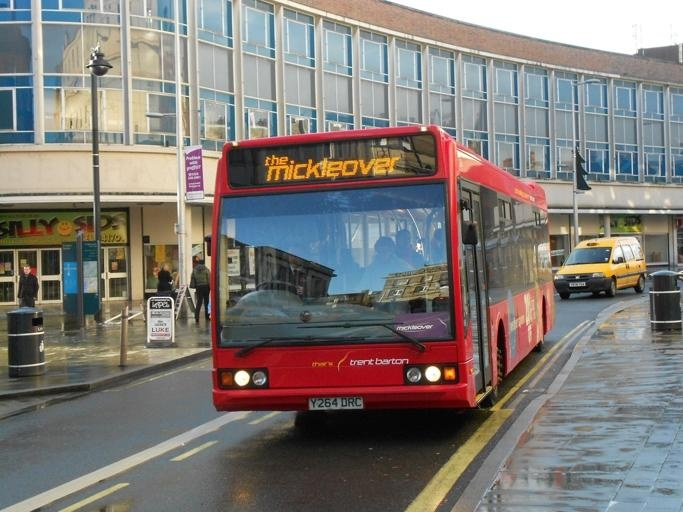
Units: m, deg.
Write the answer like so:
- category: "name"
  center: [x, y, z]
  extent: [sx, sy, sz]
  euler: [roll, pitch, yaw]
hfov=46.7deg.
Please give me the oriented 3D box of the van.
- category: "van"
  center: [9.982, 0.378, 30.490]
  extent: [2.020, 1.844, 4.106]
  euler: [-4, -5, 35]

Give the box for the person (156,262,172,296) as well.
- category: "person"
  center: [-5.872, 0.766, 25.988]
  extent: [0.468, 0.984, 0.777]
  euler: [-2, -2, -13]

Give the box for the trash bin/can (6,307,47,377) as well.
- category: "trash bin/can"
  center: [-6.095, 1.665, 15.152]
  extent: [0.600, 1.239, 0.246]
  euler: [-2, -1, -19]

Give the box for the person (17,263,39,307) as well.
- category: "person"
  center: [-10.483, 1.000, 26.286]
  extent: [0.556, 1.341, 1.639]
  euler: [-2, -2, -22]
